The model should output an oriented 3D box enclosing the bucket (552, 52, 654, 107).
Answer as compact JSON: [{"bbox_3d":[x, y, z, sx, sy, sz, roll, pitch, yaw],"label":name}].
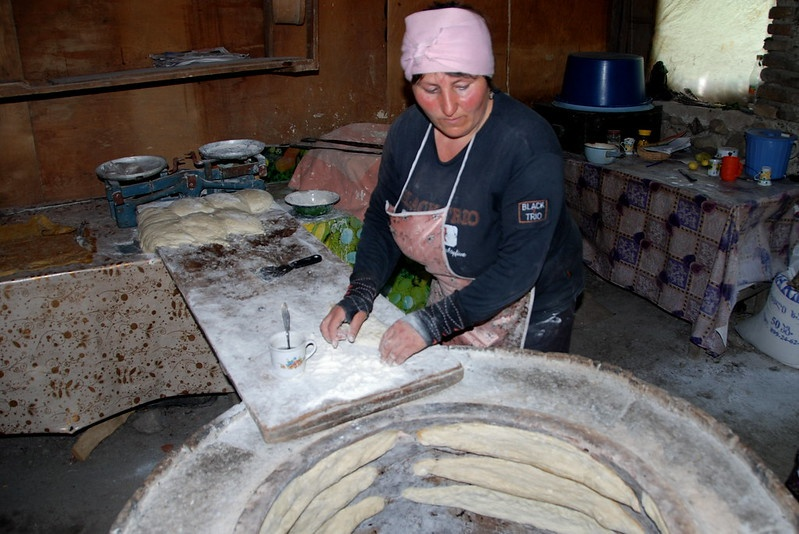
[{"bbox_3d":[1.835,-1.769,4.947,0.698,0.355,0.712,-4,28,2],"label":"bucket"}]

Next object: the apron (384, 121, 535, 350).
[{"bbox_3d":[0.231,-0.201,2.695,0.541,0.919,0.469,8,31,36],"label":"apron"}]

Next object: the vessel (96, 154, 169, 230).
[{"bbox_3d":[-1.786,-0.508,3.676,0.504,0.400,0.514,-3,38,-10],"label":"vessel"}]

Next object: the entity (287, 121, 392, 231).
[{"bbox_3d":[-0.418,-0.769,4.480,0.688,0.258,0.937,23,40,8],"label":"entity"}]

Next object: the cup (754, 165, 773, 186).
[{"bbox_3d":[2.822,-0.721,4.122,0.123,0.146,0.150,5,17,15],"label":"cup"}]

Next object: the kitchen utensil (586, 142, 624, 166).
[{"bbox_3d":[1.783,-1.047,4.668,0.184,0.111,0.306,-8,27,-10],"label":"kitchen utensil"}]

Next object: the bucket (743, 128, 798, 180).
[{"bbox_3d":[2.937,-0.939,4.242,0.412,0.350,0.413,-1,23,1],"label":"bucket"}]

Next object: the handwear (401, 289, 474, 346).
[{"bbox_3d":[0.147,0.243,2.371,0.250,0.214,0.146,-15,29,-23],"label":"handwear"}]

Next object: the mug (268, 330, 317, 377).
[{"bbox_3d":[-0.455,0.386,2.248,0.176,0.133,0.140,-4,9,-3],"label":"mug"}]

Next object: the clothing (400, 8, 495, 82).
[{"bbox_3d":[0.190,-0.949,2.205,0.334,0.238,0.322,2,24,9],"label":"clothing"}]

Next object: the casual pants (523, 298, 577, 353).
[{"bbox_3d":[0.754,0.295,2.694,0.257,0.200,0.143,-4,26,-25],"label":"casual pants"}]

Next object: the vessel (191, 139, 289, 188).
[{"bbox_3d":[-1.104,-0.698,3.825,0.605,0.210,0.391,-10,29,-22],"label":"vessel"}]

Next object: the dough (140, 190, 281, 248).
[{"bbox_3d":[-1.252,-0.311,3.327,0.583,0.149,0.465,-9,25,-21],"label":"dough"}]
